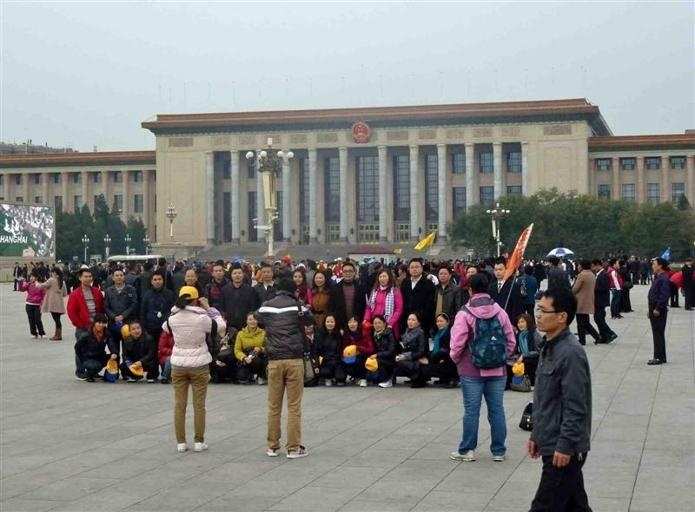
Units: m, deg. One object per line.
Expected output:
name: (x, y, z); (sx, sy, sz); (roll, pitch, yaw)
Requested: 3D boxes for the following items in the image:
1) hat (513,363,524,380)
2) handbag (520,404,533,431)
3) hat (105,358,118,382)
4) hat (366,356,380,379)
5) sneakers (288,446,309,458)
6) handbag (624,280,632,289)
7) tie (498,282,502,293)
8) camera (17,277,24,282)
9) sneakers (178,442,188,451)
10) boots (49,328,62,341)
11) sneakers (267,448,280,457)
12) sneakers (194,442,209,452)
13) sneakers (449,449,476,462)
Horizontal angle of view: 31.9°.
hat: (3.356, 2.229, 23.741); (0.227, 0.102, 0.242); (-2, 21, 22)
handbag: (3.141, 2.778, 21.101); (0.323, 0.437, 0.454); (1, -5, -1)
hat: (-4.819, 2.351, 25.199); (0.329, 0.433, 0.131); (-1, 0, -16)
hat: (0.559, 2.223, 24.517); (0.301, 0.432, 0.448); (-10, -4, 23)
sneakers: (-0.775, 3.222, 20.101); (0.357, 0.158, 0.138); (-8, 8, -43)
handbag: (8.700, 0.847, 37.591); (0.258, 0.140, 0.260); (2, 2, 24)
tie: (3.319, 0.649, 26.230); (0.066, 0.202, 0.028); (-11, -24, 44)
camera: (-14.875, 1.021, 55.749); (0.308, 0.110, 0.308); (-1, -1, -8)
sneakers: (-2.730, 3.190, 20.402); (0.173, 0.138, 0.179); (-3, 11, -9)
boots: (-7.682, 2.057, 32.269); (0.407, 0.376, 0.205); (5, -4, 1)
sneakers: (-1.192, 3.225, 20.209); (0.208, 0.141, 0.189); (-2, 11, -6)
sneakers: (-2.425, 3.163, 20.469); (0.254, 0.153, 0.213); (-4, 11, -16)
sneakers: (1.914, 3.232, 19.863); (0.358, 0.160, 0.166); (5, 0, 14)
